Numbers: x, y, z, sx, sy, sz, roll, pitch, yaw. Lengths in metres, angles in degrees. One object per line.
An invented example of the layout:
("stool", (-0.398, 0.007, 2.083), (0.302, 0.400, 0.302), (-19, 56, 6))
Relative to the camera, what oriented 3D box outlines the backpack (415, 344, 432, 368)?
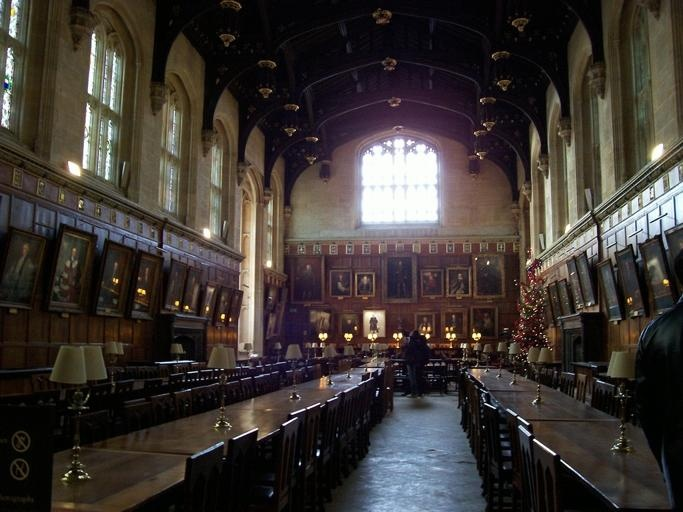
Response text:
("backpack", (2.403, 2.977, 16.549), (0.362, 0.703, 1.200), (-3, -11, 7))
